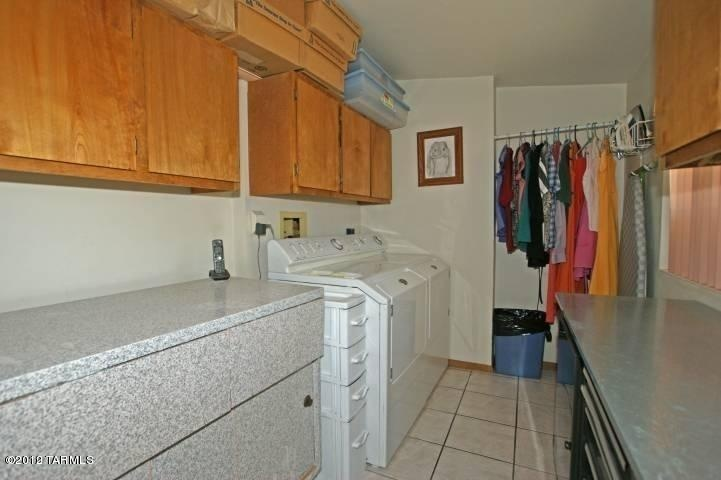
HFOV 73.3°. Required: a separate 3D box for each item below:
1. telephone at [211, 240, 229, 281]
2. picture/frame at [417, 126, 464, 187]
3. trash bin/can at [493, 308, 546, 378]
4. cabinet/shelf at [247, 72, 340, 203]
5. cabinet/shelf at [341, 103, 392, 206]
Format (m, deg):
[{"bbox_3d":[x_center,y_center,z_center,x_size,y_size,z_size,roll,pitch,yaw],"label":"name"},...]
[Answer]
[{"bbox_3d":[-0.865,0.124,2.945,0.128,0.236,0.111,-3,4,-15],"label":"telephone"},{"bbox_3d":[0.716,-0.748,4.244,0.539,0.645,0.049,0,1,27],"label":"picture/frame"},{"bbox_3d":[1.360,0.867,4.141,0.443,0.480,0.388,2,15,17],"label":"trash bin/can"},{"bbox_3d":[-0.309,-0.671,3.481,0.429,0.783,0.792,0,1,45],"label":"cabinet/shelf"},{"bbox_3d":[0.035,-0.700,3.842,0.276,0.584,0.793,-2,-1,23],"label":"cabinet/shelf"}]
